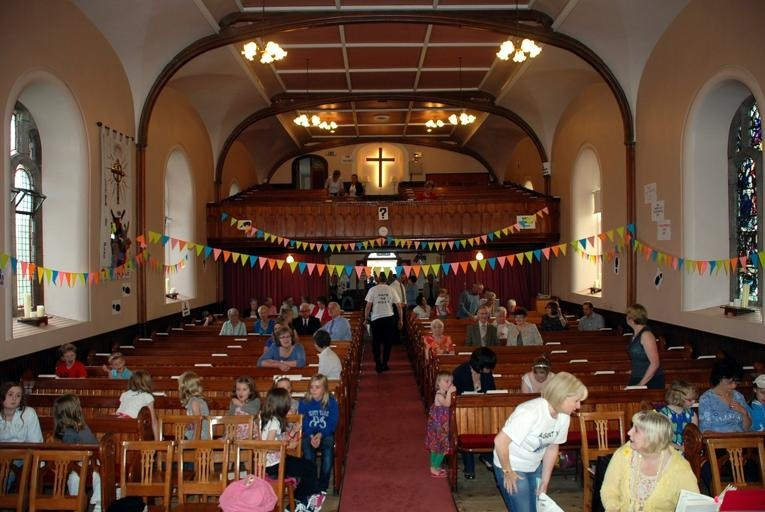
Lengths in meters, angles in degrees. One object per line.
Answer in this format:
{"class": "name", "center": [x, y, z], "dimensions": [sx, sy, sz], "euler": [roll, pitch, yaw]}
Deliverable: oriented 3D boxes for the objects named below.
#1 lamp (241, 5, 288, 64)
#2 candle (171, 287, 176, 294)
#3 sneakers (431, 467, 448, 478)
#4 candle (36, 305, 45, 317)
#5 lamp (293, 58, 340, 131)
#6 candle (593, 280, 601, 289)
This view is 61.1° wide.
{"class": "lamp", "center": [-2.457, -4.300, 12.896], "dimensions": [1.057, 1.269, 1.151], "euler": [0, 1, -6]}
{"class": "candle", "center": [-5.291, 0.838, 16.431], "dimensions": [0.092, 0.200, 0.100], "euler": [-1, 2, 2]}
{"class": "sneakers", "center": [0.801, 3.037, 9.197], "dimensions": [0.203, 0.101, 0.104], "euler": [-2, 2, -10]}
{"class": "candle", "center": [-5.995, 0.944, 11.437], "dimensions": [0.165, 0.219, 0.179], "euler": [0, -5, 18]}
{"class": "lamp", "center": [-1.856, -4.341, 18.488], "dimensions": [1.127, 1.433, 1.266], "euler": [1, 6, -16]}
{"class": "candle", "center": [5.432, 0.672, 16.446], "dimensions": [0.191, 0.225, 0.362], "euler": [0, 4, 17]}
